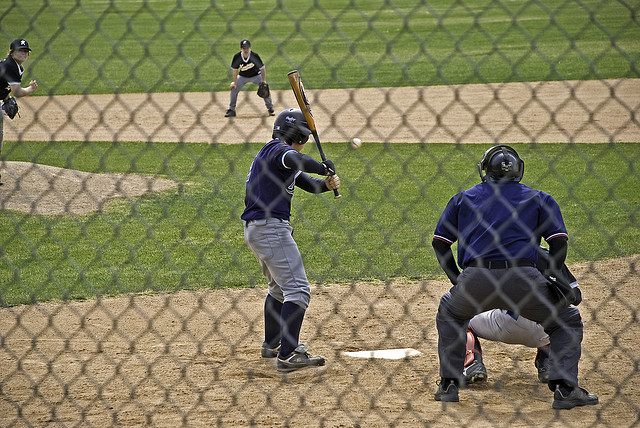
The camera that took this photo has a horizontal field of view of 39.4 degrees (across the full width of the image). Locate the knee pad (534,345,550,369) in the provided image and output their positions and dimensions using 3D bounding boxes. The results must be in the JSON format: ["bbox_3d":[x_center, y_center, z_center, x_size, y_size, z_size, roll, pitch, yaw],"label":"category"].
[{"bbox_3d":[2.521,1.609,10.129,0.191,0.217,0.117,2,4,12],"label":"knee pad"}]

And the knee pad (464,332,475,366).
[{"bbox_3d":[1.707,1.532,10.147,0.100,0.338,0.219,0,7,12],"label":"knee pad"}]
